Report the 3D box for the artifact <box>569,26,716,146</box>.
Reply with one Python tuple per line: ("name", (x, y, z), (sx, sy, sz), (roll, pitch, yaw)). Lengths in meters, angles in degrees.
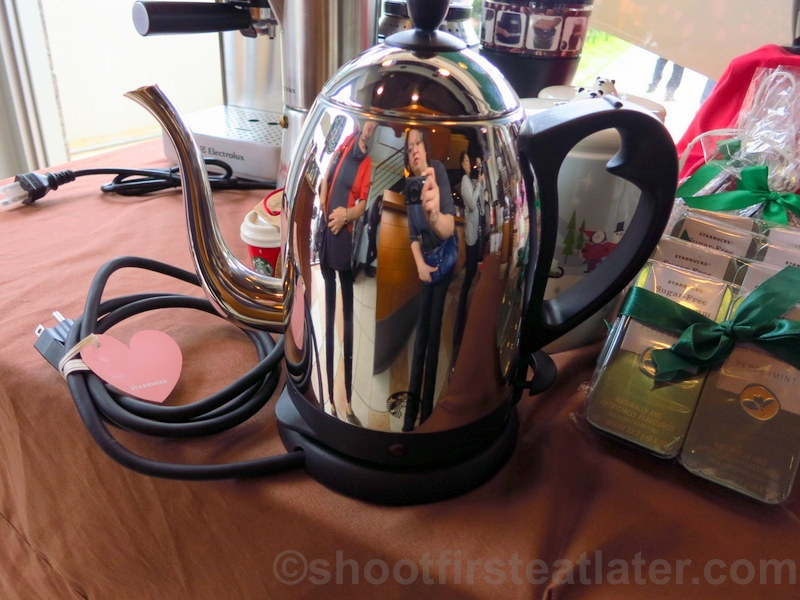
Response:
("artifact", (0.384, -0.337, 1.045), (0.277, 0.070, 0.282), (28, 33, -3))
